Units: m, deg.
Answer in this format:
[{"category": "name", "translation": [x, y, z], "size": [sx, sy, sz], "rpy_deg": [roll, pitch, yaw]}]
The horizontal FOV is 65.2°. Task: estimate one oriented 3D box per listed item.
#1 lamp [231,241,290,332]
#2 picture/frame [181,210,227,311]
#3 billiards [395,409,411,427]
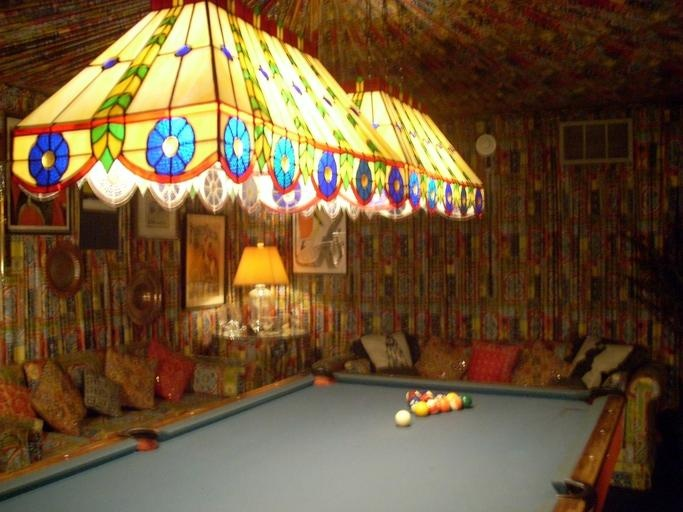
[{"category": "lamp", "translation": [-0.853, 0.338, 5.740], "size": [0.537, 0.930, 0.718], "rpy_deg": [0, 1, -6]}, {"category": "picture/frame", "translation": [-1.470, 0.055, 5.635], "size": [0.079, 1.239, 0.976], "rpy_deg": [2, 2, 19]}, {"category": "billiards", "translation": [0.281, 0.736, 2.443], "size": [0.057, 0.064, 0.060], "rpy_deg": [0, -2, 5]}]
